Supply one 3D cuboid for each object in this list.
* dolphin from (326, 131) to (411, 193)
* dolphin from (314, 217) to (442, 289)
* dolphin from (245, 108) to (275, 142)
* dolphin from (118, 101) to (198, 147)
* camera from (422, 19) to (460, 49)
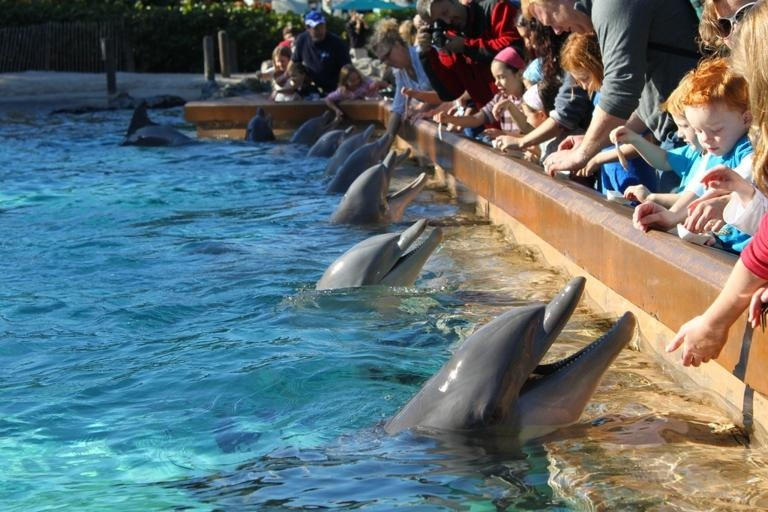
[{"bbox_3d":[-0.152,-0.881,7.801,0.903,0.298,0.311,-35,47,-3],"label":"dolphin"},{"bbox_3d":[-0.062,0.046,4.699,0.878,0.298,0.282,-16,14,25],"label":"dolphin"},{"bbox_3d":[-1.634,-1.642,11.083,0.287,0.731,0.290,-1,-14,5],"label":"dolphin"},{"bbox_3d":[-3.018,-1.720,10.886,0.802,0.499,1.107,-10,17,-34],"label":"dolphin"},{"bbox_3d":[0.467,-1.810,6.840,0.213,0.278,0.214,-1,23,9],"label":"camera"}]
